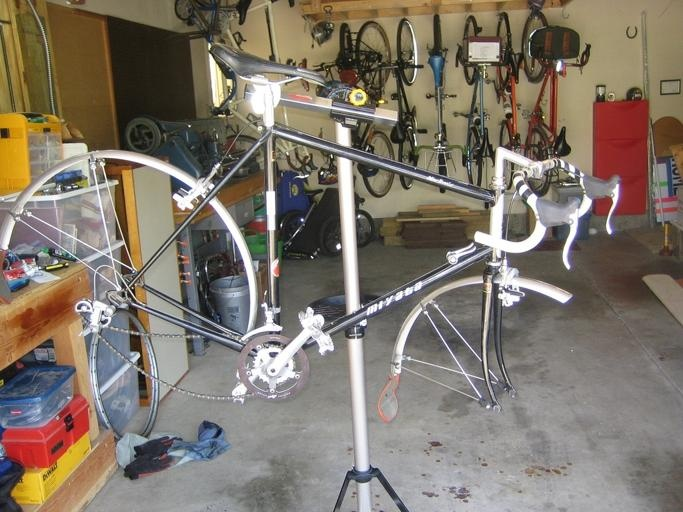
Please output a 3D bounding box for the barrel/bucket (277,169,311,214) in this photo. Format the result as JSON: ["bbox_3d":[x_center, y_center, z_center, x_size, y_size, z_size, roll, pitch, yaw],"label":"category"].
[{"bbox_3d":[-0.560,-0.732,7.160,0.195,0.644,0.568,5,10,41],"label":"barrel/bucket"}]

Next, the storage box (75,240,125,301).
[{"bbox_3d":[-1.409,0.088,3.578,0.194,0.299,0.297,2,14,10],"label":"storage box"}]

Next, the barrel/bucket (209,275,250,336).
[{"bbox_3d":[-0.932,0.425,5.222,0.314,0.540,0.327,5,26,-2],"label":"barrel/bucket"}]

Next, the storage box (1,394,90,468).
[{"bbox_3d":[-1.599,0.974,3.306,0.240,0.205,0.405,-3,16,9],"label":"storage box"}]
